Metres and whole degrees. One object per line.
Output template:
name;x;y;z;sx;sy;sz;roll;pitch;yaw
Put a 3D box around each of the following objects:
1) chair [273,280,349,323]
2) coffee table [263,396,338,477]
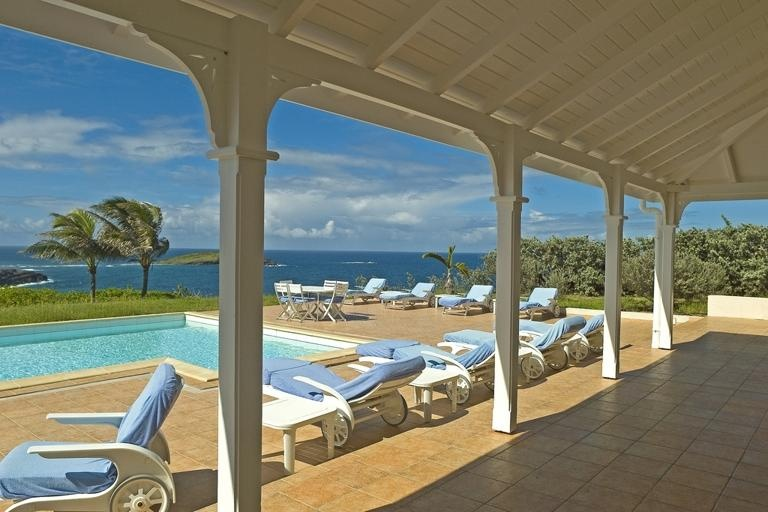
chair;-2.153;1.364;13.502;1.890;0.702;1.447;1;3;38
coffee table;-1.013;1.764;4.753;0.865;0.462;0.872;2;3;41
